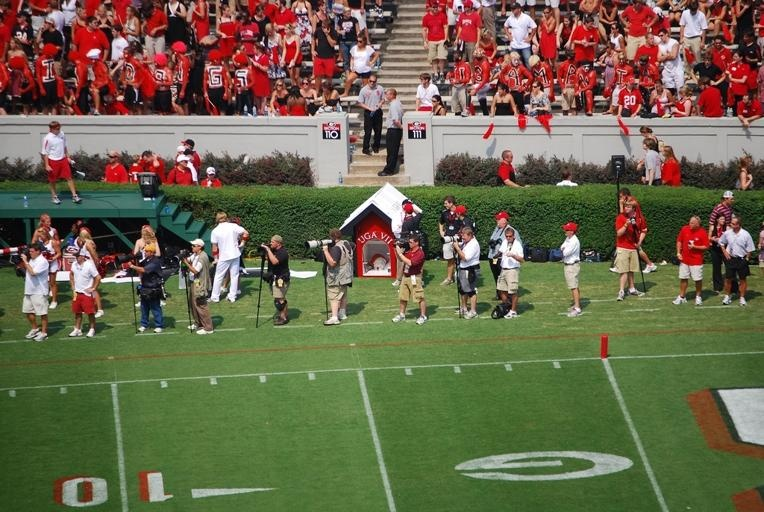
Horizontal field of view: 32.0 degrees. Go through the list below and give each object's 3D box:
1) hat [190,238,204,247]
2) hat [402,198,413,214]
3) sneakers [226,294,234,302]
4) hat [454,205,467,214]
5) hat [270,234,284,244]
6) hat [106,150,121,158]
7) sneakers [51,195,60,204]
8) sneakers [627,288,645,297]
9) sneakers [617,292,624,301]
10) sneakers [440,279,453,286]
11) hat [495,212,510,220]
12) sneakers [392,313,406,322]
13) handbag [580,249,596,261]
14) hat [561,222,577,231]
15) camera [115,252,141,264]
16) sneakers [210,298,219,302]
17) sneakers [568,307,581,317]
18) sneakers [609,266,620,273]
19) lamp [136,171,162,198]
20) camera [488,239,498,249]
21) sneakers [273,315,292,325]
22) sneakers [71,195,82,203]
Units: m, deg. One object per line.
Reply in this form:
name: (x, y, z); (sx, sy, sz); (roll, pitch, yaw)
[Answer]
hat: (-5.531, -0.420, 39.552); (0.364, 0.203, 0.268); (8, 4, -9)
hat: (0.764, -1.618, 41.948); (0.281, 0.432, 0.211); (-7, -29, -8)
sneakers: (-4.836, 1.284, 42.436); (0.261, 0.234, 0.213); (-3, 9, -6)
hat: (2.511, -1.541, 42.347); (0.227, 0.167, 0.326); (21, 38, 21)
hat: (-3.256, -0.508, 40.145); (0.247, 0.168, 0.272); (-12, 33, -41)
hat: (-9.469, -3.585, 46.716); (0.428, 0.226, 0.617); (1, 3, -1)
sneakers: (-10.964, -1.908, 44.545); (0.291, 0.295, 0.364); (-4, 10, -13)
sneakers: (7.982, 1.103, 42.022); (0.428, 0.197, 0.209); (-2, 9, 17)
sneakers: (7.457, 1.201, 41.737); (0.231, 0.289, 0.396); (0, 10, 11)
sneakers: (2.079, 0.809, 43.353); (0.297, 0.120, 0.190); (-7, 9, -18)
hat: (3.611, -1.219, 40.667); (0.355, 0.189, 0.266); (5, 13, 16)
sneakers: (0.466, 1.844, 40.481); (0.187, 0.190, 0.444); (2, 1, 27)
handbag: (6.954, -0.057, 45.152); (0.372, 0.455, 0.179); (4, 1, 4)
hat: (5.629, -0.896, 40.124); (0.371, 0.208, 0.277); (6, 8, 7)
camera: (-7.587, 0.045, 39.987); (0.701, 0.332, 1.110); (-4, 10, -10)
sneakers: (-5.374, 1.352, 42.394); (0.260, 0.115, 0.113); (0, 3, 43)
sneakers: (5.835, 1.663, 40.669); (0.519, 0.237, 0.173); (-7, 16, -26)
sneakers: (7.608, 0.409, 43.950); (0.216, 0.241, 0.348); (-1, -3, -17)
lamp: (-7.882, -2.467, 44.616); (0.663, 0.851, 0.892); (0, 14, -1)
camera: (3.385, -0.386, 40.874); (0.209, 0.260, 0.279); (-2, -5, 20)
sneakers: (-3.082, 1.904, 40.682); (0.515, 0.267, 0.297); (-6, 11, -23)
sneakers: (-10.248, -1.945, 44.563); (0.273, 0.236, 0.217); (-5, 10, -19)
